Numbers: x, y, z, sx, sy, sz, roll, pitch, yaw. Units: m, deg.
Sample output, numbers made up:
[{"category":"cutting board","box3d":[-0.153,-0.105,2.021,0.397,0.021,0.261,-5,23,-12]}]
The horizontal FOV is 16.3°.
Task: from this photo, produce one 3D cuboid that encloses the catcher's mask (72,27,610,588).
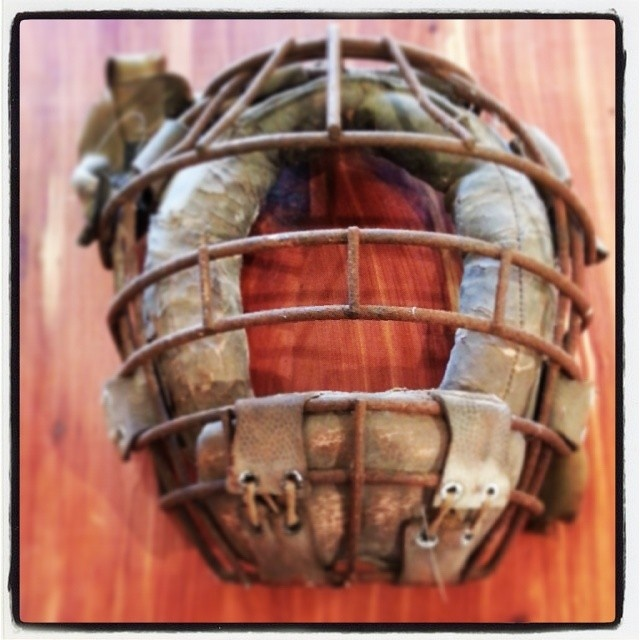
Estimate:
[{"category":"catcher's mask","box3d":[0.020,-0.013,3.040,0.593,0.745,0.397,-2,-1,0]}]
